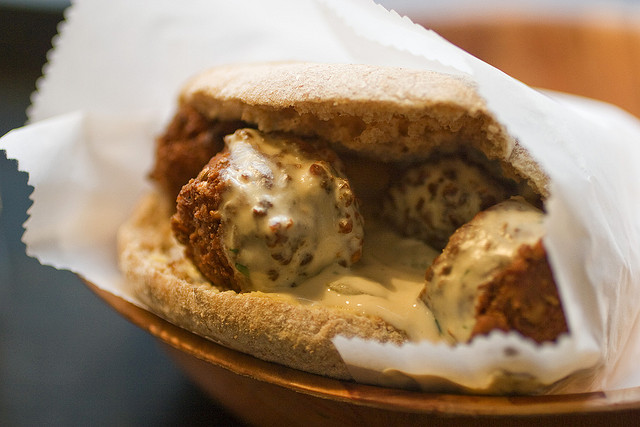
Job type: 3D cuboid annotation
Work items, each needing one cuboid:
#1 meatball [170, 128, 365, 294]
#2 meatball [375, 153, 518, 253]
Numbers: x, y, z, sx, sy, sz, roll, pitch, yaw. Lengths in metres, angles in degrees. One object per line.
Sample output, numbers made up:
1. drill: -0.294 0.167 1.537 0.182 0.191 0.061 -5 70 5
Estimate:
1. meatball: -0.054 -0.043 1.151 0.215 0.145 0.253 6 19 9
2. meatball: 0.172 -0.012 1.074 0.155 0.145 0.049 23 12 16
